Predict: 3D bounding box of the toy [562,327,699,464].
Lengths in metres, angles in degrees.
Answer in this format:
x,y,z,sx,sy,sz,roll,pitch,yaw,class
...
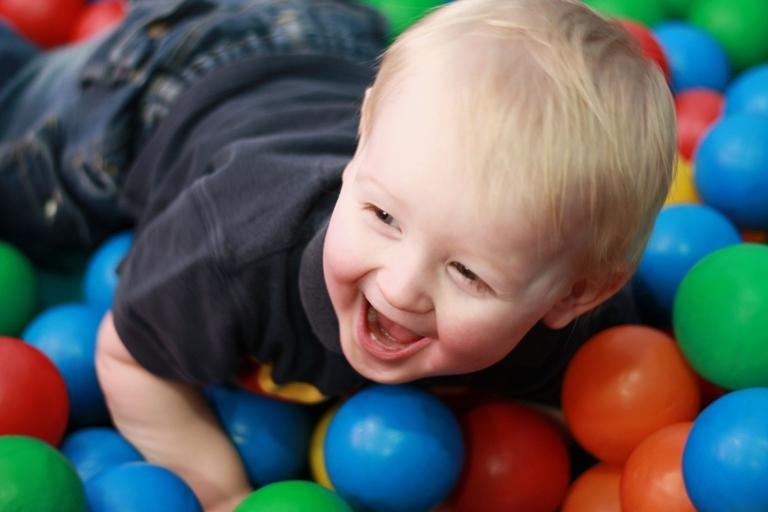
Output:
x,y,z,sx,sy,sz,roll,pitch,yaw,class
0.568,0.332,1.910,0.301,0.362,0.314,-2,61,9,toy
